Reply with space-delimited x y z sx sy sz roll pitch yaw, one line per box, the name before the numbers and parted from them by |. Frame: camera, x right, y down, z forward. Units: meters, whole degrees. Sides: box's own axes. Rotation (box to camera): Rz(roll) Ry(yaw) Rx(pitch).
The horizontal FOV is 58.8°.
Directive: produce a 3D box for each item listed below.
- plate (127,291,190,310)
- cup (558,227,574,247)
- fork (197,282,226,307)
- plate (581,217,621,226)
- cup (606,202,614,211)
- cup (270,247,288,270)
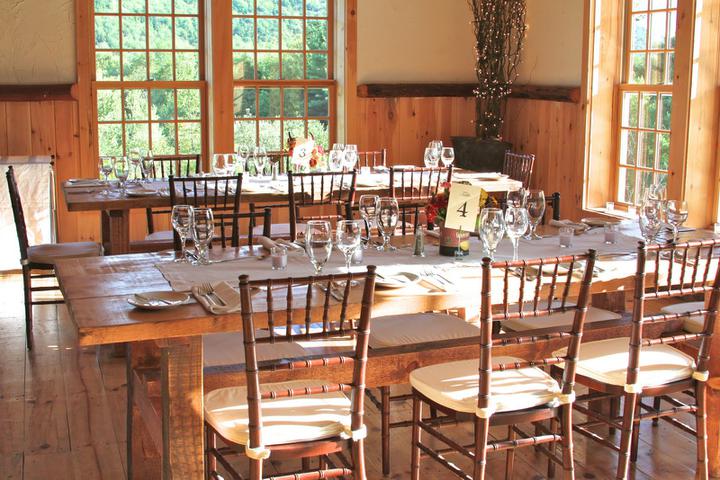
plate | -0.803 0.242 2.579 0.236 0.049 0.171 -5 9 -14
cup | 1.076 -0.016 3.391 0.106 0.113 0.103 -1 4 0
fork | -0.625 0.220 2.641 0.057 0.028 0.210 -9 19 -23
plate | 1.602 -0.128 4.270 0.156 0.030 0.211 -3 11 -20
cup | 2.276 -0.314 5.888 0.085 0.083 0.081 0 3 0
cup | -0.383 0.087 3.092 0.114 0.113 0.103 -4 12 -22
